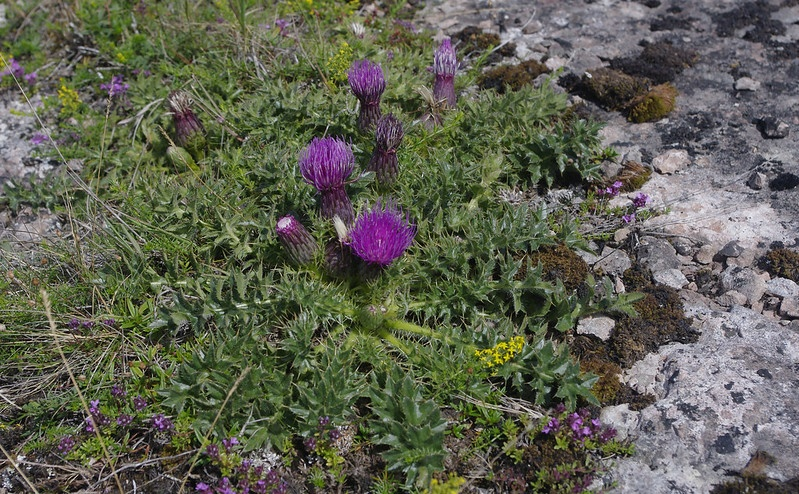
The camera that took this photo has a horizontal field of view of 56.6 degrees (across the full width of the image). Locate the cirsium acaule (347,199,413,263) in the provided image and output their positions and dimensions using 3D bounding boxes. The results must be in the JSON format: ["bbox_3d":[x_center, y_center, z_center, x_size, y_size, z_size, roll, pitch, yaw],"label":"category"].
[{"bbox_3d":[-0.268,-0.151,8.022,0.548,0.849,0.750,-14,107,-44],"label":"cirsium acaule"}]
